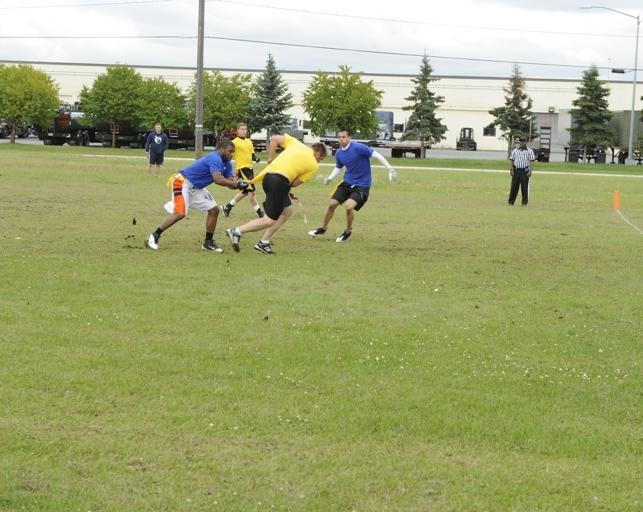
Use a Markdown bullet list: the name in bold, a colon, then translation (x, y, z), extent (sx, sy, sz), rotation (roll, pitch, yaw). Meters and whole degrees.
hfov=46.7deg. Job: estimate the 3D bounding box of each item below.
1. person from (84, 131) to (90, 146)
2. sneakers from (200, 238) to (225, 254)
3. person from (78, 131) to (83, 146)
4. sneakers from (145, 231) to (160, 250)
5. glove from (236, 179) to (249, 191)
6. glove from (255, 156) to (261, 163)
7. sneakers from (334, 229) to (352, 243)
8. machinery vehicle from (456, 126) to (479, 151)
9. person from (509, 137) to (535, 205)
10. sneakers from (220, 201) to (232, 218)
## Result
- **person**: translation (-17.887, -8.935, 56.355), extent (0.402, 1.009, 1.157), rotation (-2, 15, -18)
- **sneakers**: translation (-1.755, -0.170, 11.900), extent (0.434, 0.210, 0.156), rotation (6, 14, 19)
- **person**: translation (-18.170, -8.881, 55.595), extent (0.287, 0.951, 0.531), rotation (12, 17, 34)
- **sneakers**: translation (-2.675, -0.224, 11.743), extent (0.138, 0.321, 0.117), rotation (-24, -22, 10)
- **glove**: translation (-1.231, -1.115, 11.528), extent (0.218, 0.176, 0.242), rotation (0, 2, 1)
- **glove**: translation (-1.559, -2.358, 18.070), extent (0.147, 0.124, 0.371), rotation (4, 5, -1)
- **sneakers**: translation (0.370, -0.340, 13.232), extent (0.132, 0.158, 0.373), rotation (13, -8, -26)
- **machinery vehicle**: translation (15.641, -12.403, 79.345), extent (1.845, 1.700, 3.547), rotation (0, 6, 7)
- **person**: translation (5.428, -2.275, 20.070), extent (0.590, 1.759, 1.008), rotation (6, 14, 14)
- **sneakers**: translation (-2.022, -1.049, 15.874), extent (0.285, 0.414, 0.154), rotation (-1, 13, 6)
